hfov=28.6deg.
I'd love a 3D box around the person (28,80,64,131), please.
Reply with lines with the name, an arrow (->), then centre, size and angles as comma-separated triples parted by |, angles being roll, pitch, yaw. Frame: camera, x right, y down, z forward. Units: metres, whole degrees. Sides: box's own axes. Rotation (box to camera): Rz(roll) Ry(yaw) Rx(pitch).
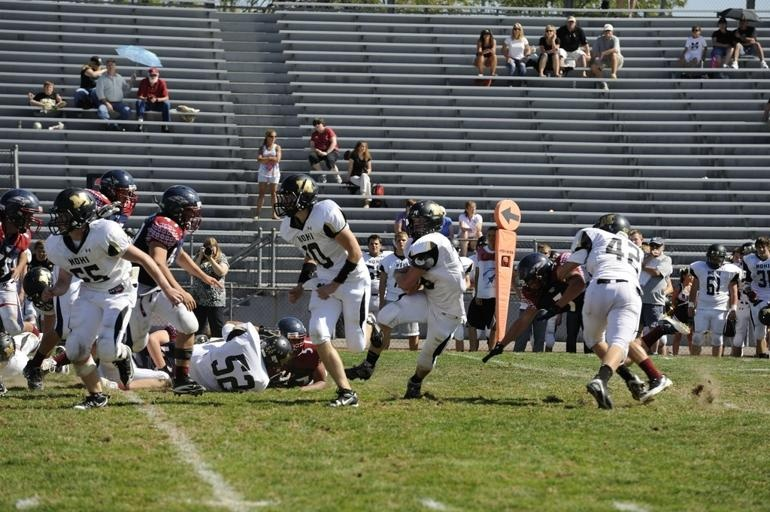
person -> -7.484, -3.281, 33.332 | 0.763, 1.028, 0.725 | 0, 3, -13

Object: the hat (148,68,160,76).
hat -> -5.109, -4.034, 33.238 | 0.266, 0.151, 0.400 | 0, 9, -9

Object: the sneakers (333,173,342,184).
sneakers -> -1.073, -1.663, 32.804 | 0.271, 0.088, 0.166 | 46, -6, -13

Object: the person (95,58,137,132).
person -> -6.008, -3.466, 33.226 | 0.759, 1.422, 0.480 | 1, 3, -11

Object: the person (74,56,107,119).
person -> -6.384, -3.791, 33.381 | 0.872, 1.199, 0.685 | 9, 15, 0

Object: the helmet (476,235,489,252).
helmet -> 1.824, -0.236, 29.453 | 0.214, 0.281, 0.300 | 1, 7, 26

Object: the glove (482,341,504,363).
glove -> 1.930, 1.727, 26.942 | 0.160, 0.507, 0.219 | 50, 1, 30

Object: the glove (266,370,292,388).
glove -> -1.786, 2.087, 25.236 | 0.319, 0.094, 0.320 | -27, -42, 24

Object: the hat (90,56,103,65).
hat -> -6.371, -4.279, 33.156 | 0.231, 0.302, 0.239 | 8, 14, 0

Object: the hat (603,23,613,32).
hat -> 5.232, -5.328, 35.434 | 0.247, 0.138, 0.390 | 5, 6, 7

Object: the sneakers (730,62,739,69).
sneakers -> 8.329, -4.536, 36.060 | 0.090, 0.104, 0.236 | 19, 25, 19

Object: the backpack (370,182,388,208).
backpack -> -0.082, -1.304, 32.856 | 0.441, 0.795, 0.569 | 0, 3, -10

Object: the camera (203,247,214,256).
camera -> -3.277, -0.077, 27.960 | 0.144, 0.136, 0.128 | -15, 0, -12

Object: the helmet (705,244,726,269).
helmet -> 6.439, -0.026, 29.519 | 0.399, 0.433, 0.456 | 2, 37, 0

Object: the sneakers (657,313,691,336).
sneakers -> 5.140, 1.227, 26.905 | 0.577, 0.244, 0.232 | 32, -17, 23

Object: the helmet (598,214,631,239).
helmet -> 3.807, -0.521, 25.000 | 0.459, 0.372, 0.366 | 35, 14, 39
